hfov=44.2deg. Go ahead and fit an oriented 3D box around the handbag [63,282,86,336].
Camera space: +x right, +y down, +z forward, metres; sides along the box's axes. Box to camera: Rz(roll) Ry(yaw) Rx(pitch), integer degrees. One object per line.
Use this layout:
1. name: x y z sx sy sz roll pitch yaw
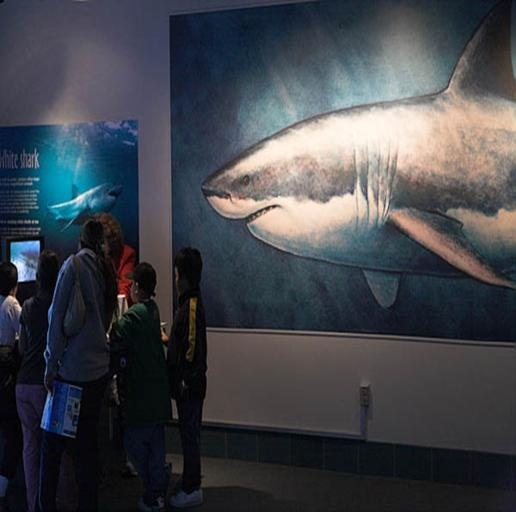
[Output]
1. handbag: -0.966 0.314 3.345 0.098 0.304 0.087 1 16 -4
